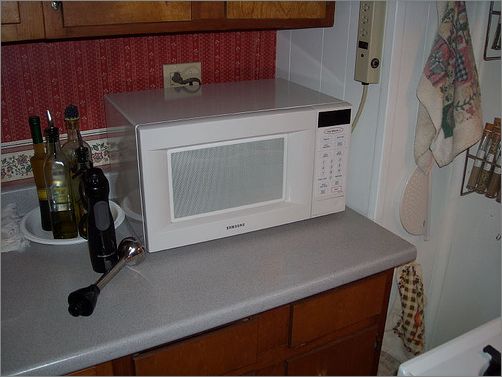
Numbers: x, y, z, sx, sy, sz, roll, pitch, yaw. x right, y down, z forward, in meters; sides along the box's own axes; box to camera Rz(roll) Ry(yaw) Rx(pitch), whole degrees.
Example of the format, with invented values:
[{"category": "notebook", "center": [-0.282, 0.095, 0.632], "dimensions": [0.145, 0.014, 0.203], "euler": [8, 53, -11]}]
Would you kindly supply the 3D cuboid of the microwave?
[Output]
[{"category": "microwave", "center": [-0.086, -0.107, 1.324], "dimensions": [0.754, 0.432, 0.415], "euler": [-12, 24, -20]}]
